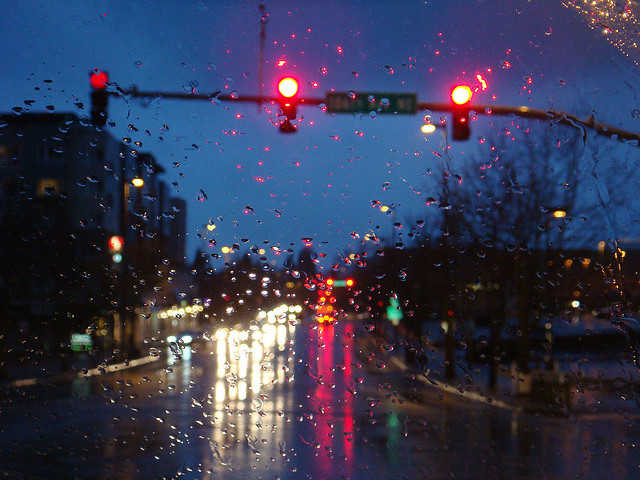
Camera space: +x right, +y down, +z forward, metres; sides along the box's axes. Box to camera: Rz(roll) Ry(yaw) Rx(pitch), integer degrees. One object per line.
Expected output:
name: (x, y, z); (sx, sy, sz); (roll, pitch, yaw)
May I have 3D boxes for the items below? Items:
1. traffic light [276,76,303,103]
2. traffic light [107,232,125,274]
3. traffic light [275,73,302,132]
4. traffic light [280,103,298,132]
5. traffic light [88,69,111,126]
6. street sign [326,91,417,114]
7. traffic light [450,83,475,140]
traffic light: (-0.391, -1.881, 13.218); (0.303, 0.326, 0.303); (-2, 2, -6)
traffic light: (-4.938, 0.430, 25.752); (0.269, 0.904, 0.251); (1, -9, -3)
traffic light: (-0.391, -1.688, 13.128); (0.282, 0.722, 0.399); (-1, 2, -3)
traffic light: (-0.385, -1.509, 13.083); (0.213, 0.370, 0.448); (-1, 2, -2)
traffic light: (-2.853, -1.807, 13.812); (0.245, 0.715, 0.975); (-2, 2, -11)
street sign: (0.685, -1.770, 13.697); (1.221, 0.282, 0.729); (-2, 1, -3)
traffic light: (1.795, -1.608, 13.414); (0.303, 0.698, 1.107); (-1, 2, 8)
